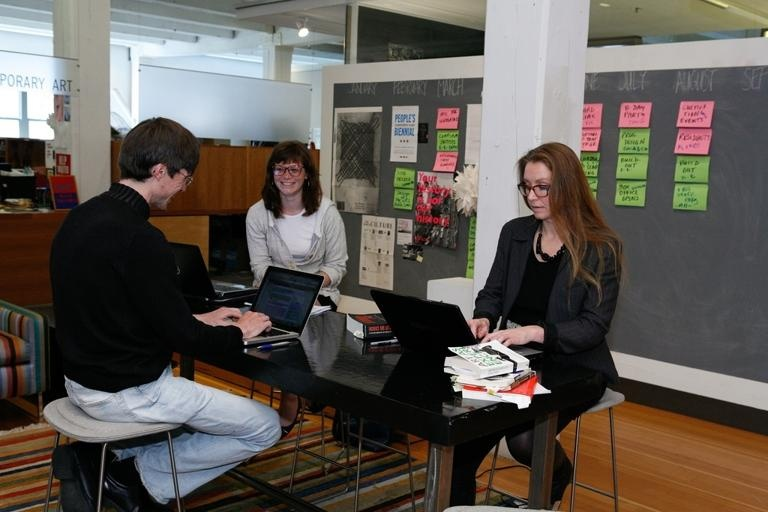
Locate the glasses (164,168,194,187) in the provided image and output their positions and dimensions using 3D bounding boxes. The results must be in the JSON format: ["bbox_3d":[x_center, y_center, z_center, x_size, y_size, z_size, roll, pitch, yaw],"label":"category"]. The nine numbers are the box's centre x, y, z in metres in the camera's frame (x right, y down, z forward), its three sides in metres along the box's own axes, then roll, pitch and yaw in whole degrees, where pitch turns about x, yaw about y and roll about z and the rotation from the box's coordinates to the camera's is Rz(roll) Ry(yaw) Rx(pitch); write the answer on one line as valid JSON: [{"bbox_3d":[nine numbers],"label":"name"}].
[{"bbox_3d":[-0.941,-0.350,2.449,0.097,0.044,0.076,21,17,22],"label":"glasses"}]

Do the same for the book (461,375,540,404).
[{"bbox_3d":[0.468,0.507,2.104,0.146,0.035,0.149,3,5,39],"label":"book"}]

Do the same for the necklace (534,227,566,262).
[{"bbox_3d":[0.843,-0.054,2.885,0.118,0.151,0.040,-13,-22,24],"label":"necklace"}]

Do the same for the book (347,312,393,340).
[{"bbox_3d":[-0.062,0.332,2.704,0.150,0.041,0.147,-1,8,-24],"label":"book"}]

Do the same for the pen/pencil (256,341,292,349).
[{"bbox_3d":[-0.522,0.414,2.525,0.129,0.019,0.019,-8,16,-41],"label":"pen/pencil"}]

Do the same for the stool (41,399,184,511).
[{"bbox_3d":[-1.229,0.711,2.491,0.529,0.572,0.557,2,4,-38],"label":"stool"}]

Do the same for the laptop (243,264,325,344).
[{"bbox_3d":[-0.471,0.229,2.785,0.380,0.352,0.247,14,8,38],"label":"laptop"}]

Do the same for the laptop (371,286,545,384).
[{"bbox_3d":[0.256,0.336,2.307,0.423,0.288,0.467,-15,16,-32],"label":"laptop"}]

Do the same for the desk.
[{"bbox_3d":[-0.101,0.707,2.693,1.219,0.784,0.655,14,19,43],"label":"desk"}]
